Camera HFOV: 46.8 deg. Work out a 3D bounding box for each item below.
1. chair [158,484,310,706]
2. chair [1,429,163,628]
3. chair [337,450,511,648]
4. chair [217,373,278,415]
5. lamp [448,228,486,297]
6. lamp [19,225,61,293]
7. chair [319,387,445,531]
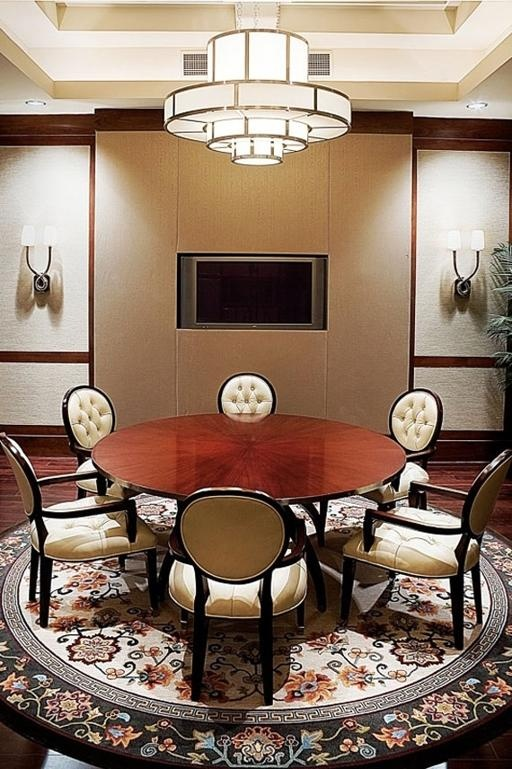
[{"bbox_3d":[-0.075,0.643,1.914,0.468,0.724,0.450,1,4,4],"label":"chair"},{"bbox_3d":[-0.749,0.492,2.791,0.763,1.044,0.691,-5,15,-22],"label":"chair"},{"bbox_3d":[0.738,0.567,2.671,0.752,1.008,0.680,7,8,38],"label":"chair"},{"bbox_3d":[-0.068,0.054,4.021,0.375,0.259,0.167,0,4,-9],"label":"chair"},{"bbox_3d":[1.801,-1.018,5.072,0.341,0.563,0.220,1,4,7],"label":"lamp"},{"bbox_3d":[-1.888,-1.075,5.140,0.278,0.590,0.231,0,4,-19],"label":"lamp"},{"bbox_3d":[0.761,0.470,3.445,0.588,0.819,0.477,-9,15,-39],"label":"chair"}]
